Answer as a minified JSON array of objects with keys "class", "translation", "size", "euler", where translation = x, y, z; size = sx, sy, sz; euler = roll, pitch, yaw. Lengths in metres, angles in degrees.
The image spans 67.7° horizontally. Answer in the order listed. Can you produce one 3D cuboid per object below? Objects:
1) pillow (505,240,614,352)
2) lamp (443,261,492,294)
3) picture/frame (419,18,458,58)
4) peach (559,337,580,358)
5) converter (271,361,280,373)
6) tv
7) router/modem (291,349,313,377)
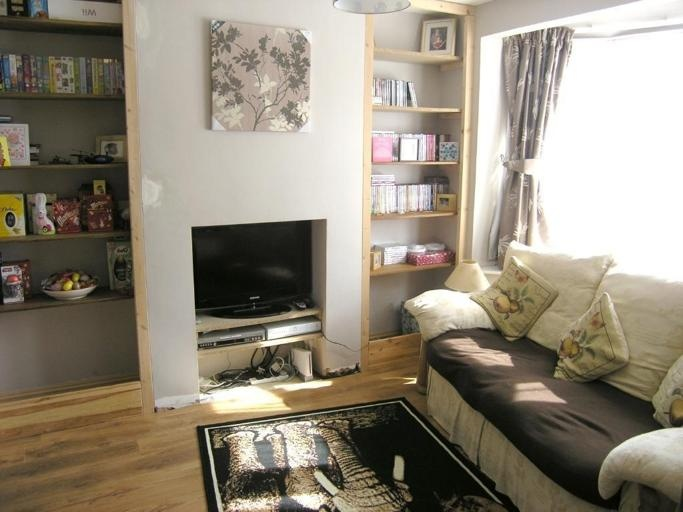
[{"class":"pillow","translation":[1.483,0.260,3.439],"size":[0.191,0.591,0.629],"euler":[16,7,-32]},{"class":"lamp","translation":[0.971,0.171,3.940],"size":[0.268,0.306,0.273],"euler":[-2,18,-5]},{"class":"picture/frame","translation":[0.832,-1.826,4.291],"size":[0.361,0.419,0.055],"euler":[7,5,19]},{"class":"peach","translation":[1.389,0.557,3.105],"size":[0.031,0.108,0.085],"euler":[16,-2,-28]},{"class":"converter","translation":[-0.530,0.893,4.118],"size":[0.068,0.016,0.066],"euler":[16,57,30]},{"class":"tv","translation":[-0.729,0.089,3.917],"size":[0.731,0.534,0.194],"euler":[-4,14,-21]},{"class":"router/modem","translation":[-0.317,0.856,4.101],"size":[0.047,0.149,0.204],"euler":[-9,12,-29]}]
